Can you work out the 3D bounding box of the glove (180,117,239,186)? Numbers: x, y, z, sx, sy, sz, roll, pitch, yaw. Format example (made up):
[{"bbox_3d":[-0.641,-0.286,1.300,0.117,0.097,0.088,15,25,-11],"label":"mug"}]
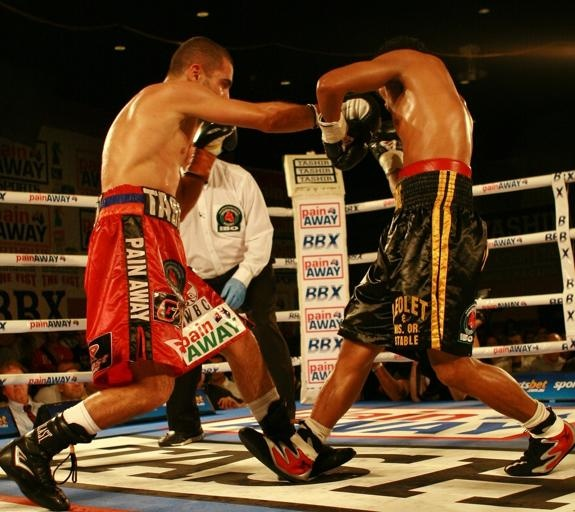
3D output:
[{"bbox_3d":[-0.321,-0.441,2.578,0.381,0.243,0.217,4,-6,-9],"label":"glove"}]

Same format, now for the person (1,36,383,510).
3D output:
[{"bbox_3d":[-0.370,-0.039,2.090,0.724,1.569,0.998,-2,0,41],"label":"person"}]

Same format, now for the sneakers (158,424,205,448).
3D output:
[{"bbox_3d":[-0.501,0.873,2.944,0.227,0.061,0.075,4,-7,-38],"label":"sneakers"}]
